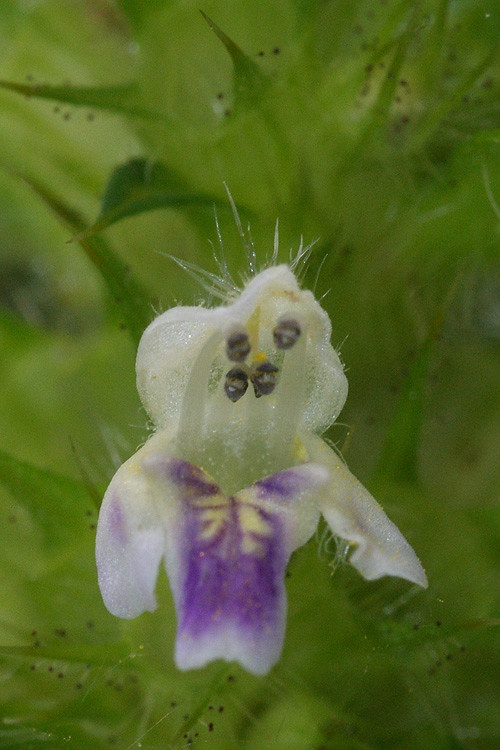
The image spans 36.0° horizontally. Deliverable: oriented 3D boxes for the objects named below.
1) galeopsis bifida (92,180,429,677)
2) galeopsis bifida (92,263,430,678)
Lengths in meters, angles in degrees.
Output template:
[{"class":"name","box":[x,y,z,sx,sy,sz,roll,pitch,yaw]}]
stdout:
[{"class":"galeopsis bifida","box":[-0.025,0.091,1.189,0.559,0.239,0.606,3,86,-6]},{"class":"galeopsis bifida","box":[-0.025,0.177,1.198,0.564,0.226,0.602,6,83,-2]}]
